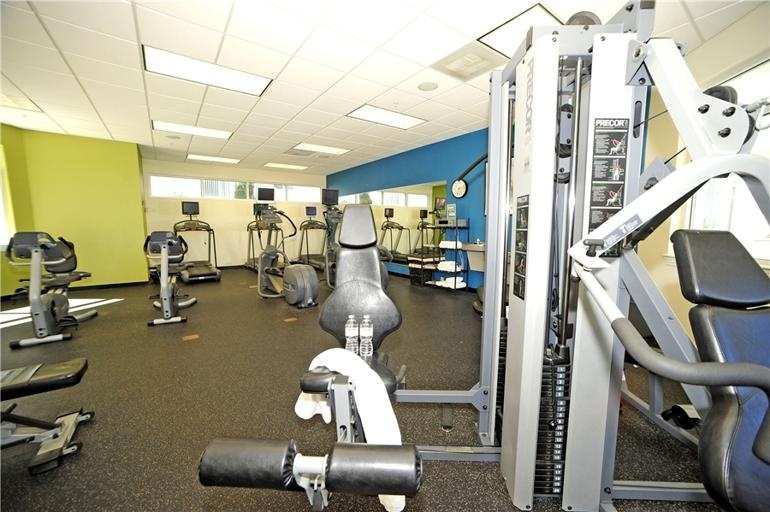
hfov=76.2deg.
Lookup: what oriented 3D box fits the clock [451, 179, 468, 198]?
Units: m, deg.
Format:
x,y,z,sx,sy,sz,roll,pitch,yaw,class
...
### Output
x,y,z,sx,sy,sz,roll,pitch,yaw,class
1.204,-1.091,7.953,0.277,0.278,0.068,22,17,35,clock
